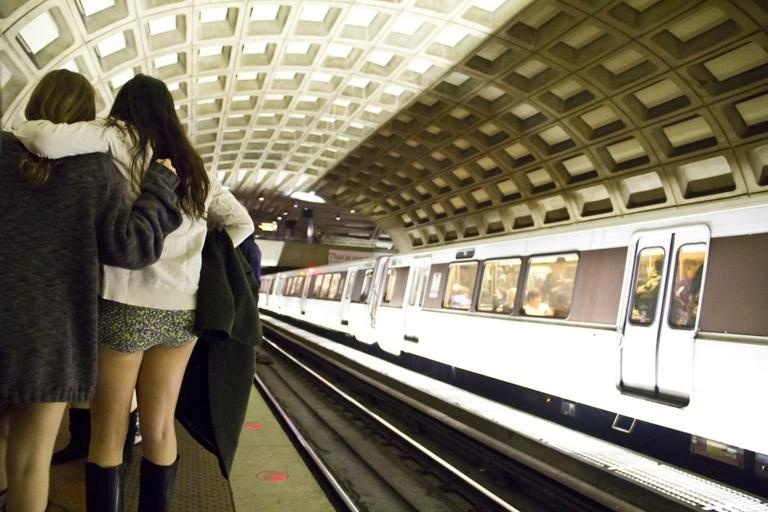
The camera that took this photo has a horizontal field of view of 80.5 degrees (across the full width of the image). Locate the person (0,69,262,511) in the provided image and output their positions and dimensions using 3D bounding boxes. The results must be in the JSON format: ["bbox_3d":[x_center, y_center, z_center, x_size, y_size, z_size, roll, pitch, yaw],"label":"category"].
[{"bbox_3d":[-1.481,0.192,2.530,0.330,2.620,0.847,-2,-8,43],"label":"person"}]
